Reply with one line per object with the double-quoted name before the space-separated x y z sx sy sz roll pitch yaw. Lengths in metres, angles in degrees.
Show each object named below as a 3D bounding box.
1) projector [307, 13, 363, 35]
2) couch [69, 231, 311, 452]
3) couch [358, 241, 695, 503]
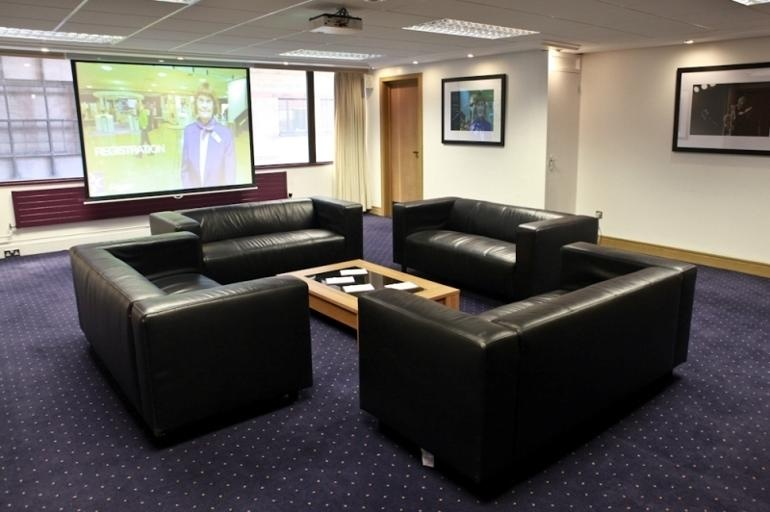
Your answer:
"projector" -0.473 -2.283 5.183 0.518 0.176 0.307 -3 17 -7
"couch" -1.749 0.510 4.503 1.266 0.952 2.166 -11 21 -41
"couch" 1.021 0.652 3.770 2.222 0.974 0.963 -10 19 -29
